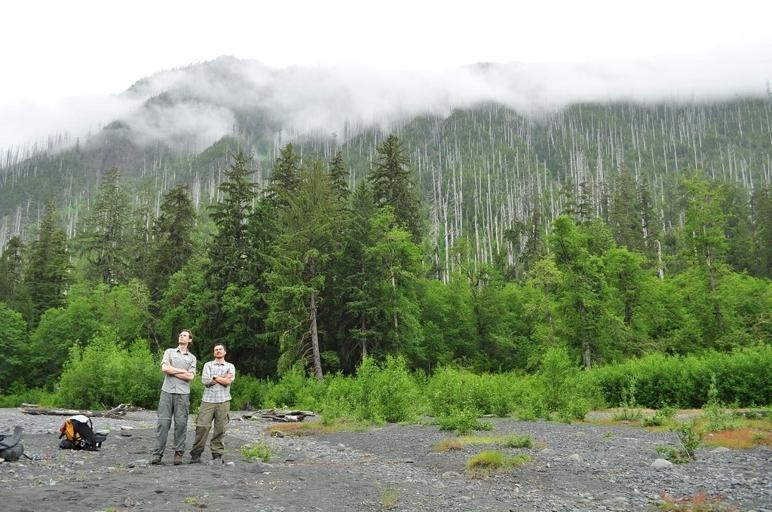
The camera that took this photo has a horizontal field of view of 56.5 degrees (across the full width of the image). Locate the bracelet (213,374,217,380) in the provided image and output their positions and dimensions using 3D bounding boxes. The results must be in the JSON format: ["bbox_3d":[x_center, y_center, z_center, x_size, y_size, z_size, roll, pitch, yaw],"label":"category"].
[{"bbox_3d":[-14.574,10.243,60.866,0.341,0.265,0.132,-39,3,-37],"label":"bracelet"}]
